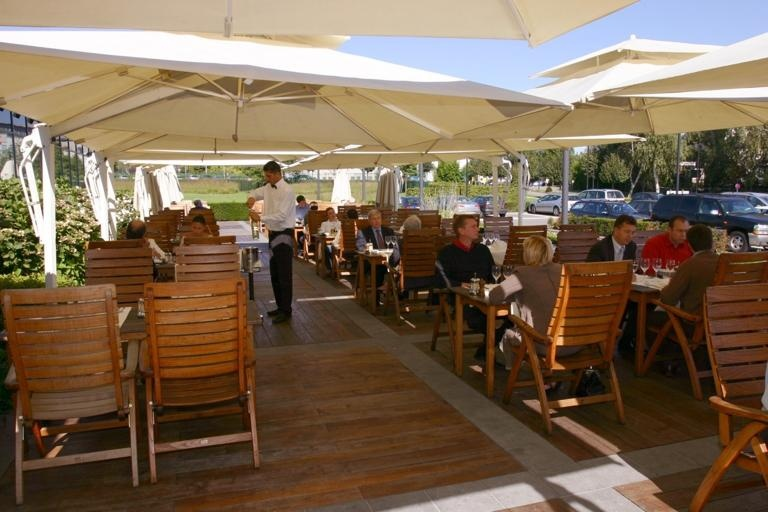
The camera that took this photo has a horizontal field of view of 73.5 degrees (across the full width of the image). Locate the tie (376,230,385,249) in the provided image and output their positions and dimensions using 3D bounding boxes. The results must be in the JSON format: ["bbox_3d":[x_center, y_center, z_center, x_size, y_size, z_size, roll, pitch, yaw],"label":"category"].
[{"bbox_3d":[-0.064,-0.367,10.819,0.281,0.351,0.097,-6,-4,-24],"label":"tie"}]

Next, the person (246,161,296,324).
[{"bbox_3d":[-2.003,-0.251,8.906,0.982,2.681,1.086,-3,8,-28],"label":"person"}]

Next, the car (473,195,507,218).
[{"bbox_3d":[7.294,-3.491,35.838,2.326,1.642,5.061,-1,11,-1],"label":"car"}]

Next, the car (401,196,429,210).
[{"bbox_3d":[1.628,-2.906,28.223,1.822,0.658,2.039,-1,5,-8],"label":"car"}]

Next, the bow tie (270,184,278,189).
[{"bbox_3d":[-1.900,-1.193,8.709,0.095,0.054,0.071,3,10,33],"label":"bow tie"}]

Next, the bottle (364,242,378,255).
[{"bbox_3d":[-0.256,-0.153,9.933,0.178,0.265,0.283,-2,-2,-4],"label":"bottle"}]
